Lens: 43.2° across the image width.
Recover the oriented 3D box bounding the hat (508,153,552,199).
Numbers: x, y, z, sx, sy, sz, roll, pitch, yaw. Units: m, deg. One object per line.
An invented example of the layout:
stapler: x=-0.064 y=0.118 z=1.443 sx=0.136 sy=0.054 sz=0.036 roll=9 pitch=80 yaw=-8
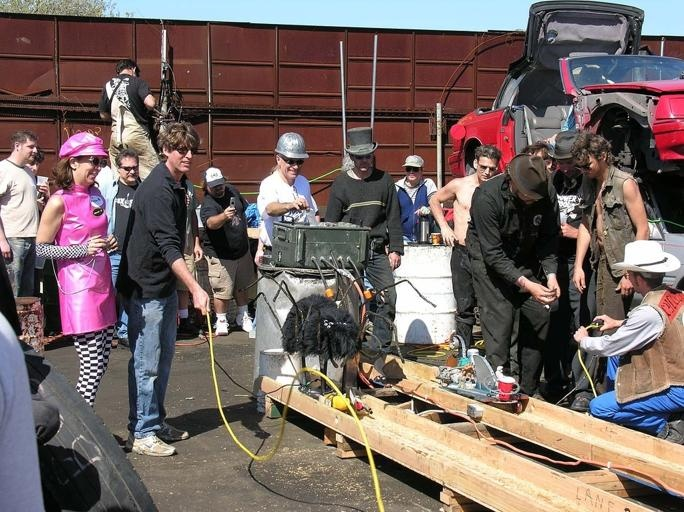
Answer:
hat: x=1.673 y=-0.701 z=7.669 sx=0.336 sy=0.405 sz=0.133 roll=-20 pitch=6 yaw=-35

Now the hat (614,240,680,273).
hat: x=2.548 y=0.015 z=7.250 sx=0.343 sy=0.148 sz=0.340 roll=-3 pitch=7 yaw=30

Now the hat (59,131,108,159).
hat: x=-2.247 y=-0.956 z=7.526 sx=0.334 sy=0.154 sz=0.255 roll=-9 pitch=14 yaw=-37

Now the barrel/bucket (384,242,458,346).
barrel/bucket: x=1.039 y=0.446 z=10.759 sx=0.970 sy=1.613 sz=1.070 roll=1 pitch=7 yaw=6

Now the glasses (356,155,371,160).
glasses: x=0.230 y=-1.013 z=8.915 sx=0.170 sy=0.055 sz=0.106 roll=-3 pitch=8 yaw=-15

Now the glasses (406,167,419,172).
glasses: x=0.910 y=-1.133 z=11.324 sx=0.228 sy=0.065 sz=0.115 roll=7 pitch=10 yaw=44

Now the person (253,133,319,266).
person: x=-0.565 y=-0.581 z=8.822 sx=0.639 sy=1.337 sz=1.199 roll=-1 pitch=7 yaw=-6

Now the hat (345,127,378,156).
hat: x=0.201 y=-1.169 z=8.869 sx=0.287 sy=0.295 sz=0.341 roll=0 pitch=7 yaw=1

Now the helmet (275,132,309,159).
helmet: x=-0.531 y=-1.107 z=8.697 sx=0.233 sy=0.178 sz=0.309 roll=1 pitch=10 yaw=-26

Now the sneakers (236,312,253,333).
sneakers: x=-1.275 y=0.916 z=11.753 sx=0.151 sy=0.226 sz=0.448 roll=-4 pitch=10 yaw=-23

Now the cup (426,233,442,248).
cup: x=1.175 y=-0.194 z=10.840 sx=0.155 sy=0.142 sz=0.167 roll=0 pitch=1 yaw=0

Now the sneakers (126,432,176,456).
sneakers: x=-1.660 y=1.664 z=7.598 sx=0.407 sy=0.224 sz=0.172 roll=4 pitch=2 yaw=6

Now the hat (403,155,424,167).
hat: x=0.935 y=-1.220 z=11.253 sx=0.208 sy=0.149 sz=0.154 roll=1 pitch=7 yaw=15

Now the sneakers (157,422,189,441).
sneakers: x=-1.523 y=1.591 z=7.827 sx=0.299 sy=0.150 sz=0.123 roll=3 pitch=3 yaw=-20

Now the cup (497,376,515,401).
cup: x=1.429 y=1.161 z=7.555 sx=0.185 sy=0.223 sz=0.142 roll=0 pitch=0 yaw=3

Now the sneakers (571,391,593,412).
sneakers: x=2.271 y=1.391 z=8.241 sx=0.111 sy=0.148 sz=0.328 roll=-1 pitch=-10 yaw=36

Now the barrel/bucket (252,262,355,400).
barrel/bucket: x=-0.457 y=0.628 z=8.199 sx=0.846 sy=1.588 sz=0.890 roll=1 pitch=3 yaw=0
